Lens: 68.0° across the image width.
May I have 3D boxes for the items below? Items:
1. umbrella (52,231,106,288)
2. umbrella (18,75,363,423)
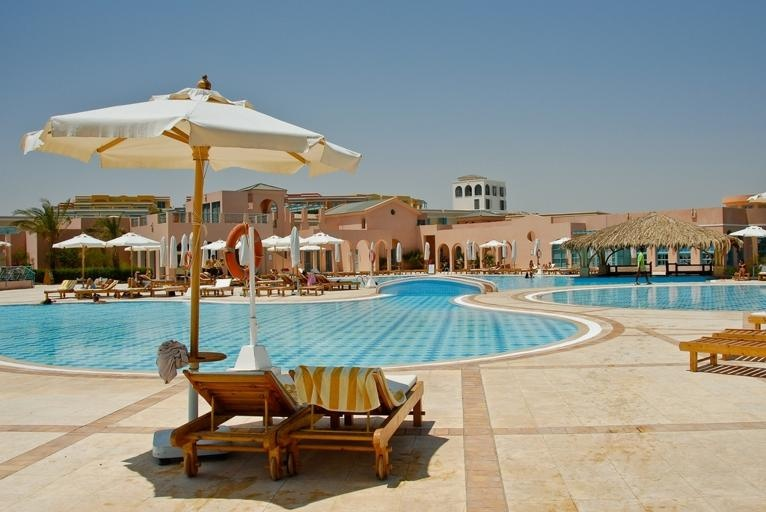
[{"bbox_3d":[-20.513,0.402,38.358,5.144,3.359,4.437,0,-3,-6],"label":"umbrella"},{"bbox_3d":[-2.298,-0.154,6.880,3.384,4.056,2.752,-2,-1,-27],"label":"umbrella"}]
